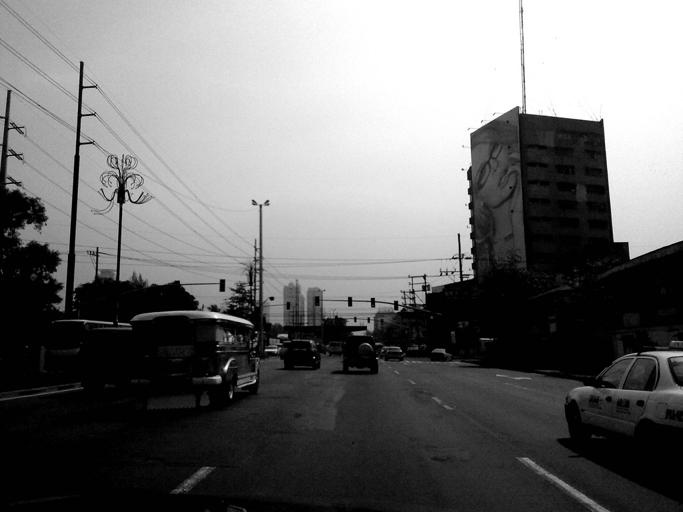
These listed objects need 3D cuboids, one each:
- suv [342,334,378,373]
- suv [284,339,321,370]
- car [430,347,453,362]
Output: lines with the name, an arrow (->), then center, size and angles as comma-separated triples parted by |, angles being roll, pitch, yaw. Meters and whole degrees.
suv -> 1.078, 5.397, 36.558 | 2.083, 2.198, 0.859 | -8, -11, 29
suv -> -2.336, 6.081, 41.262 | 1.367, 1.369, 2.603 | 0, -1, 6
car -> 9.940, 9.857, 65.789 | 1.118, 1.060, 2.027 | -4, -15, 14
